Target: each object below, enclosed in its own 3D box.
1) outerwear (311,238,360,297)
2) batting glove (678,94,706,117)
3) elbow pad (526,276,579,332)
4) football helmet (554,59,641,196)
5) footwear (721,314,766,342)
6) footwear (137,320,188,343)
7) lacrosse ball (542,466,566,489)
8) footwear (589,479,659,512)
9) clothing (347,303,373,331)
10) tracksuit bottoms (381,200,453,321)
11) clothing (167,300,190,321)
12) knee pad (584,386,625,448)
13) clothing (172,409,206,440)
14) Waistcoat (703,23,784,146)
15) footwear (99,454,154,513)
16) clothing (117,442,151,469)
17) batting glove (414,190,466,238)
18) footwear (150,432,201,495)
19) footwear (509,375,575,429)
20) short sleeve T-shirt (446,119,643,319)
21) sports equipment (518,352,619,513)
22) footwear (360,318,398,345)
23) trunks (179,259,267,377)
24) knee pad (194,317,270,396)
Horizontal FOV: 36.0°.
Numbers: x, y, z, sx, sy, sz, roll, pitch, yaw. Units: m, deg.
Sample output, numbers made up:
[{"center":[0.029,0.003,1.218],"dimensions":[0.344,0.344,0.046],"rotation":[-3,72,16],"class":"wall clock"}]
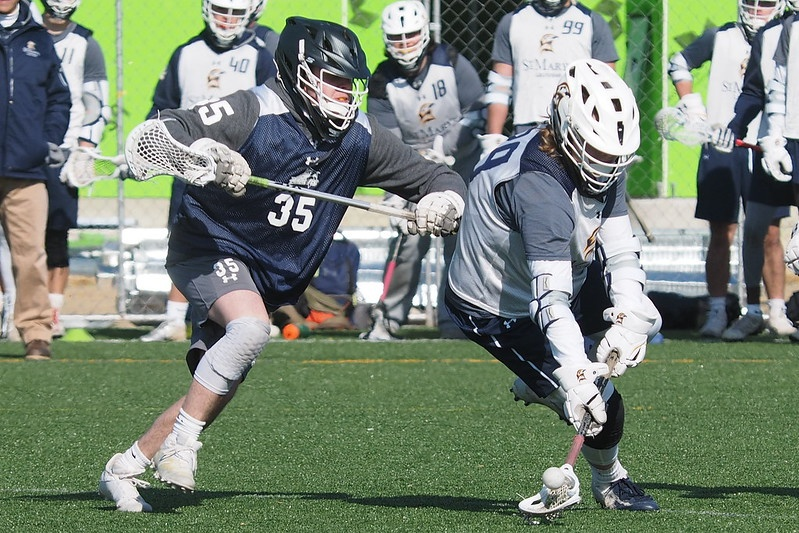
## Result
[{"center":[-0.532,0.015,9.905],"dimensions":[0.452,0.578,0.317],"rotation":[8,0,-10],"class":"outerwear"},{"center":[2.262,-1.272,9.571],"dimensions":[0.222,0.184,0.392],"rotation":[2,5,13],"class":"batting glove"},{"center":[0.748,0.180,6.087],"dimensions":[0.209,0.285,0.106],"rotation":[2,5,5],"class":"elbow pad"},{"center":[0.971,-0.706,6.194],"dimensions":[0.448,0.688,0.277],"rotation":[2,5,6],"class":"football helmet"},{"center":[2.757,0.456,9.919],"dimensions":[0.432,0.172,0.152],"rotation":[-22,44,-30],"class":"footwear"},{"center":[-1.938,0.523,9.871],"dimensions":[0.434,0.185,0.156],"rotation":[0,5,-1],"class":"footwear"},{"center":[0.751,1.037,6.092],"dimensions":[0.099,0.115,0.099],"rotation":[-15,11,3],"class":"lacrosse ball"},{"center":[1.163,1.191,6.417],"dimensions":[0.258,0.119,0.146],"rotation":[-1,-4,32],"class":"footwear"},{"center":[-0.362,0.439,10.737],"dimensions":[0.189,0.265,0.114],"rotation":[1,-6,24],"class":"clothing"},{"center":[0.049,-0.015,10.044],"dimensions":[0.863,0.862,0.253],"rotation":[4,1,-7],"class":"tracksuit bottoms"},{"center":[-1.757,0.332,9.785],"dimensions":[0.157,0.171,0.156],"rotation":[10,16,-3],"class":"clothing"},{"center":[1.083,0.796,6.447],"dimensions":[0.220,0.298,0.118],"rotation":[2,-14,36],"class":"knee pad"},{"center":[-1.073,0.808,6.248],"dimensions":[0.147,0.127,0.132],"rotation":[27,-5,3],"class":"clothing"},{"center":[2.686,-1.361,9.176],"dimensions":[0.558,0.823,0.261],"rotation":[22,19,-1],"class":"Waistcoat"},{"center":[-1.445,1.107,6.351],"dimensions":[0.354,0.276,0.156],"rotation":[5,6,38],"class":"footwear"},{"center":[-1.368,0.987,6.369],"dimensions":[0.131,0.118,0.119],"rotation":[1,-9,-15],"class":"clothing"},{"center":[0.194,-0.290,6.495],"dimensions":[0.197,0.261,0.123],"rotation":[24,-23,9],"class":"batting glove"},{"center":[-1.127,0.983,6.175],"dimensions":[0.229,0.277,0.153],"rotation":[0,5,-11],"class":"footwear"},{"center":[0.732,0.676,6.633],"dimensions":[0.375,0.168,0.138],"rotation":[5,-5,45],"class":"footwear"},{"center":[0.827,-0.183,6.537],"dimensions":[0.936,0.979,0.967],"rotation":[-3,29,-26],"class":"short sleeve T-shirt"},{"center":[0.826,0.868,6.175],"dimensions":[0.195,0.910,0.337],"rotation":[27,-8,16],"class":"sports equipment"},{"center":[-0.182,0.522,10.083],"dimensions":[0.417,0.283,0.137],"rotation":[2,-2,-1],"class":"footwear"},{"center":[-0.918,0.251,6.401],"dimensions":[0.390,0.656,0.501],"rotation":[-18,-22,-14],"class":"trunks"},{"center":[-0.868,0.458,6.296],"dimensions":[0.382,0.410,0.170],"rotation":[0,5,-9],"class":"knee pad"}]
